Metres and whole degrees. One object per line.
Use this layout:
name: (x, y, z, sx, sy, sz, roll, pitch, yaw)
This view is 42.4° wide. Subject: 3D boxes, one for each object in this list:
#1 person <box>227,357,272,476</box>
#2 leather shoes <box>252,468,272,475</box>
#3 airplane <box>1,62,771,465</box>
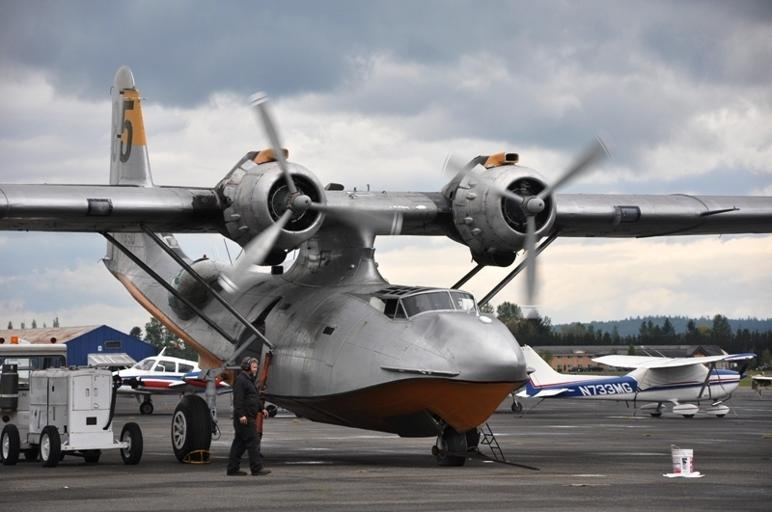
person: (-2.976, 3.421, 21.279, 0.815, 2.445, 0.859, 0, -4, -8)
leather shoes: (-2.636, 4.551, 21.074, 0.411, 0.174, 0.140, -5, 12, 0)
airplane: (-0.941, 0.667, 24.145, 16.524, 8.239, 5.666, -1, -4, 6)
